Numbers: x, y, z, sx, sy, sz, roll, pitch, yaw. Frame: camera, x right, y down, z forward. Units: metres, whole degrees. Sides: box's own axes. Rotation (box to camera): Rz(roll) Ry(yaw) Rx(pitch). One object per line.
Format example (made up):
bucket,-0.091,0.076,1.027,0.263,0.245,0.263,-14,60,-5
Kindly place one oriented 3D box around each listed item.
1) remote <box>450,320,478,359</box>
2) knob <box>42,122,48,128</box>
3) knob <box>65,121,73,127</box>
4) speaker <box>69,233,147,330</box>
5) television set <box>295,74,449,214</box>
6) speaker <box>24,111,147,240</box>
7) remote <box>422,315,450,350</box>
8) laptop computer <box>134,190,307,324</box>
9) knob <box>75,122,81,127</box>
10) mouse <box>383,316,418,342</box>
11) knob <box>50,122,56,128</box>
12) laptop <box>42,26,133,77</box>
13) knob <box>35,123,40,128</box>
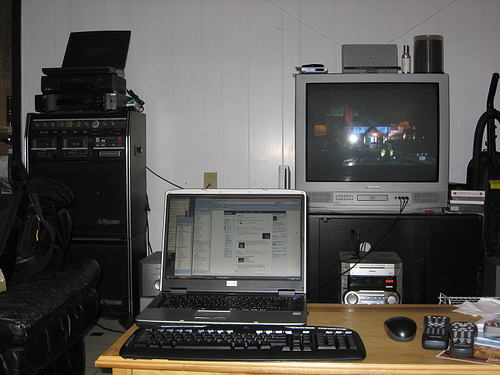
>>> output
remote,0.808,0.579,1.909,0.109,0.052,0.194,-3,15,24
knob,-1.544,-0.476,3.798,0.033,0.066,0.036,5,20,6
knob,-1.358,-0.480,3.778,0.036,0.040,0.013,0,-2,-4
speaker,-1.041,0.570,3.962,0.509,0.816,0.524,0,14,-6
television set,0.963,-0.429,3.897,1.098,1.069,0.695,-2,21,10
speaker,-1.272,-0.034,4.051,0.784,1.174,0.613,-1,1,-1
remote,0.727,0.568,1.968,0.102,0.053,0.195,-1,16,25
laptop computer,-0.104,0.257,2.071,0.676,0.475,0.565,0,2,13
knob,-1.290,-0.478,3.773,0.038,0.042,0.010,2,-3,-5
mouse,0.621,0.561,2.043,0.142,0.070,0.207,-16,4,18
knob,-1.483,-0.473,3.785,0.040,0.040,0.010,11,-2,-8
laptop,-1.259,-1.061,3.862,0.590,0.381,0.478,4,7,21
knob,-1.602,-0.474,3.790,0.043,0.044,0.024,0,-1,-5
